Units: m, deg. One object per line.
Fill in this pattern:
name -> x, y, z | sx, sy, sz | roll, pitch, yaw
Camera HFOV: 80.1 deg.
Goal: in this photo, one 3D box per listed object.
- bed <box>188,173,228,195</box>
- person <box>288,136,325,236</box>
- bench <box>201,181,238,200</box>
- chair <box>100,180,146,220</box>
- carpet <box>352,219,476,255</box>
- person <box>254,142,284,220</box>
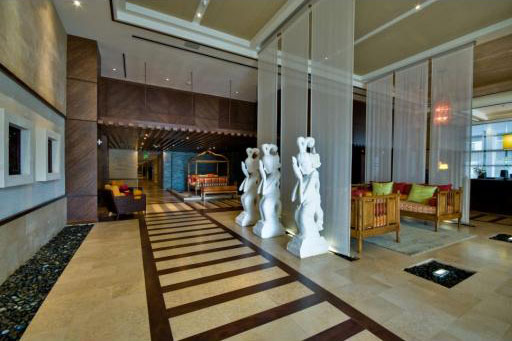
bed -> -2.250, 0.483, 13.418 | 1.115, 0.648, 1.388 | 0, 3, -23
person -> 1.120, 0.351, 6.418 | 0.751, 2.098, 0.597 | -2, 9, -17
bench -> -1.602, 0.832, 12.695 | 1.685, 0.709, 1.042 | -4, 9, -32
chair -> -3.869, 0.850, 9.057 | 1.212, 1.028, 1.167 | -2, 5, -37
carpet -> 3.782, 1.563, 7.231 | 2.703, 0.102, 1.447 | -4, 9, -29
person -> 0.330, 0.290, 7.355 | 0.639, 1.861, 0.420 | -3, 9, -25
